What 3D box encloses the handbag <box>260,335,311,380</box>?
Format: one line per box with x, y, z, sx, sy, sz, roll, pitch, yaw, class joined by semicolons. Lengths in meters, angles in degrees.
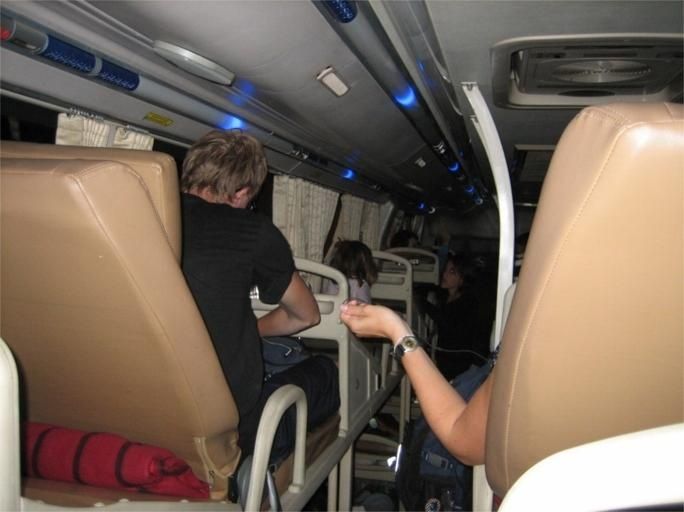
-0.250;0.431;2.246;0.084;0.254;0.183;4;30;46;handbag
